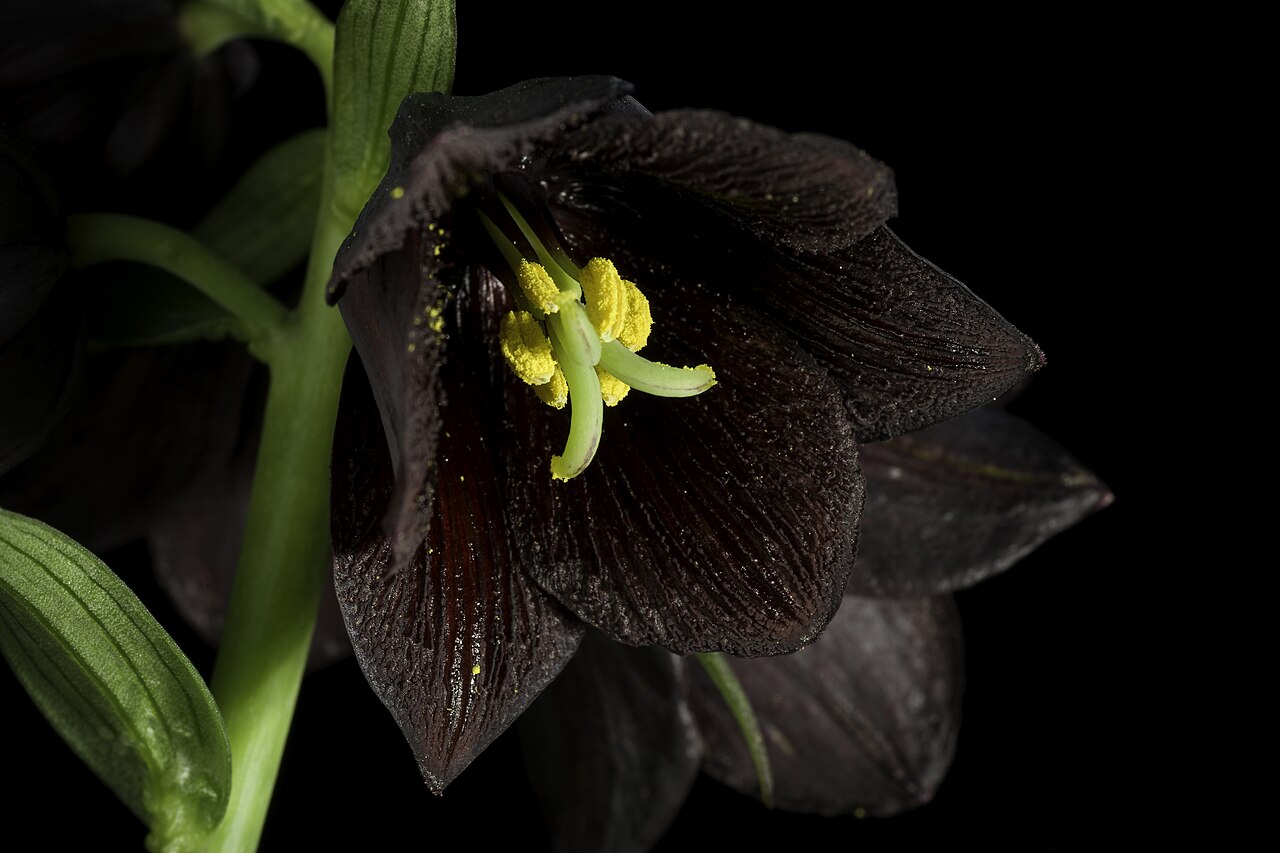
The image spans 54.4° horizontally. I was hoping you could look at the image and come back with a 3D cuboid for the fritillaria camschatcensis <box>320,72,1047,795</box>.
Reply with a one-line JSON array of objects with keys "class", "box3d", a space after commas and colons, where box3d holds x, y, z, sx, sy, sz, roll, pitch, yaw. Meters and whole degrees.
[{"class": "fritillaria camschatcensis", "box3d": [0.024, -0.025, 0.916, 0.509, 0.454, 0.220, -8, 30, -18]}]
